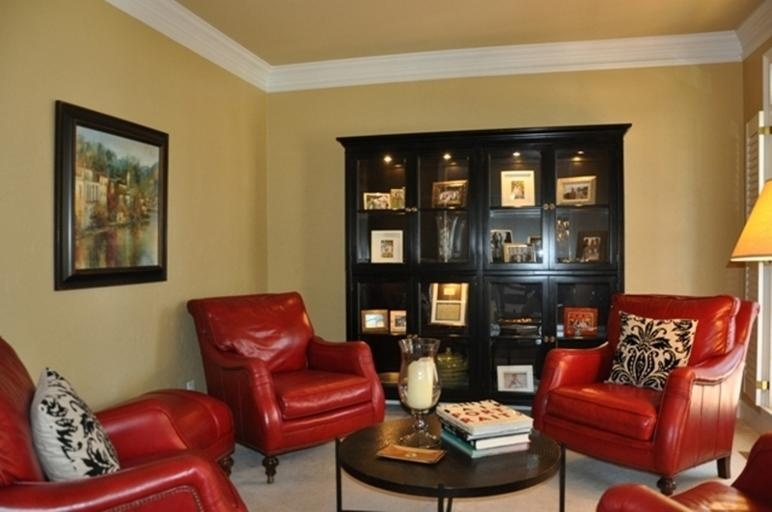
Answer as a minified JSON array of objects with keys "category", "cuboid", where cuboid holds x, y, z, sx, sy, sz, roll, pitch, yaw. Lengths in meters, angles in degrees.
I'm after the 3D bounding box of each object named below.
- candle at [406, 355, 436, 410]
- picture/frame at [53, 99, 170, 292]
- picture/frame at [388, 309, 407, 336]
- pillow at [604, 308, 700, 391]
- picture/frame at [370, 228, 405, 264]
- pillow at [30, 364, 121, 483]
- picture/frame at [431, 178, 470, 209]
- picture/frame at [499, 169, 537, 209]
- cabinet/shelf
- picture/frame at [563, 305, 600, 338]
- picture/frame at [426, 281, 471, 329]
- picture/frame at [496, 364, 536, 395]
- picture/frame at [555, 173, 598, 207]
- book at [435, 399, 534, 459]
[{"category":"candle","cuboid":[0.195,0.744,3.521,0.236,0.424,0.251,0,-1,1]},{"category":"picture/frame","cuboid":[-2.006,-0.428,4.309,0.128,1.281,0.935,1,4,25]},{"category":"picture/frame","cuboid":[0.111,0.584,5.224,0.225,0.265,0.018,1,3,13]},{"category":"pillow","cuboid":[1.919,0.672,4.258,0.317,0.557,0.619,-2,3,-40]},{"category":"picture/frame","cuboid":[0.022,-0.086,5.242,0.312,0.327,0.025,0,-2,5]},{"category":"pillow","cuboid":[-1.638,0.936,3.107,0.340,0.537,0.606,-3,3,-23]},{"category":"picture/frame","cuboid":[0.578,-0.549,5.151,0.266,0.248,0.029,0,-1,12]},{"category":"picture/frame","cuboid":[1.152,-0.577,5.070,0.335,0.371,0.029,0,-2,6]},{"category":"cabinet/shelf","cuboid":[0.834,0.135,5.386,2.411,2.420,0.647,0,6,9]},{"category":"picture/frame","cuboid":[1.668,0.552,4.965,0.250,0.264,0.025,3,1,2]},{"category":"picture/frame","cuboid":[0.563,0.426,5.136,0.381,0.463,0.017,2,4,11]},{"category":"picture/frame","cuboid":[1.127,1.052,5.034,0.256,0.196,0.012,0,-5,4]},{"category":"picture/frame","cuboid":[1.630,-0.562,4.982,0.280,0.241,0.016,0,0,6]},{"category":"book","cuboid":[0.506,0.946,3.331,0.314,0.122,0.326,0,3,-24]}]
